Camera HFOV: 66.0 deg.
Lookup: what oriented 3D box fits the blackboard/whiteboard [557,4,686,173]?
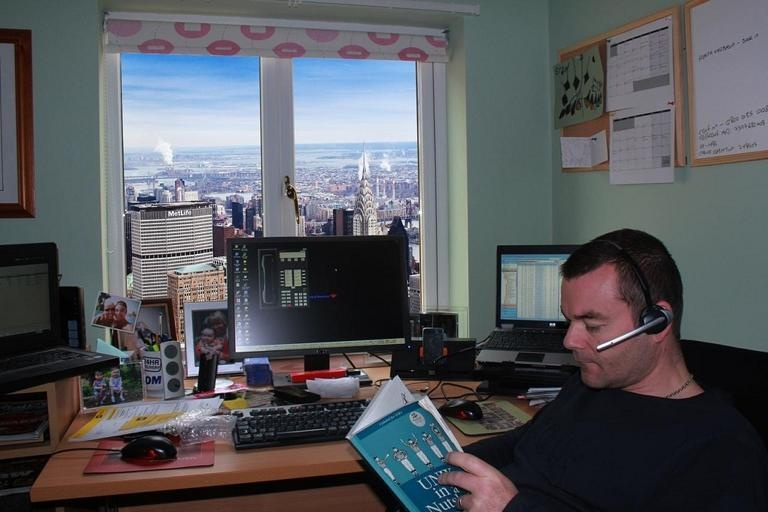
[{"bbox_3d":[1.169,-0.810,2.850,0.076,0.813,1.033,0,-1,-23],"label":"blackboard/whiteboard"}]

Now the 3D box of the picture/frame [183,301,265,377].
[{"bbox_3d":[-0.680,0.354,2.492,0.385,0.420,0.031,0,-5,-10],"label":"picture/frame"}]

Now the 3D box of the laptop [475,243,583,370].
[{"bbox_3d":[0.647,0.208,2.672,0.626,0.412,0.500,1,6,14],"label":"laptop"}]

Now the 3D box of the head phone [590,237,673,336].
[{"bbox_3d":[0.737,0.103,1.720,0.088,0.209,0.229,-22,12,10],"label":"head phone"}]

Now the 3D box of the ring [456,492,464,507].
[{"bbox_3d":[0.219,0.705,1.696,0.030,0.029,0.026,7,24,-16],"label":"ring"}]

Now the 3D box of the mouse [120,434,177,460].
[{"bbox_3d":[-0.773,0.621,1.925,0.150,0.048,0.082,3,-5,-1],"label":"mouse"}]

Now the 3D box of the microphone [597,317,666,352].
[{"bbox_3d":[0.693,0.221,1.648,0.137,0.043,0.107,-24,-4,-5],"label":"microphone"}]

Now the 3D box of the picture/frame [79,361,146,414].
[{"bbox_3d":[-1.059,0.511,2.262,0.218,0.148,0.027,-8,-5,-25],"label":"picture/frame"}]

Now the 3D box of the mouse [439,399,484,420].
[{"bbox_3d":[0.297,0.565,2.194,0.127,0.041,0.072,4,2,29],"label":"mouse"}]

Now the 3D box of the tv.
[{"bbox_3d":[-0.276,0.227,2.437,0.713,0.431,0.071,-2,2,-5],"label":"tv"}]

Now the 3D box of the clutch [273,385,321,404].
[{"bbox_3d":[-0.341,0.551,2.325,0.119,0.026,0.066,6,5,44],"label":"clutch"}]
